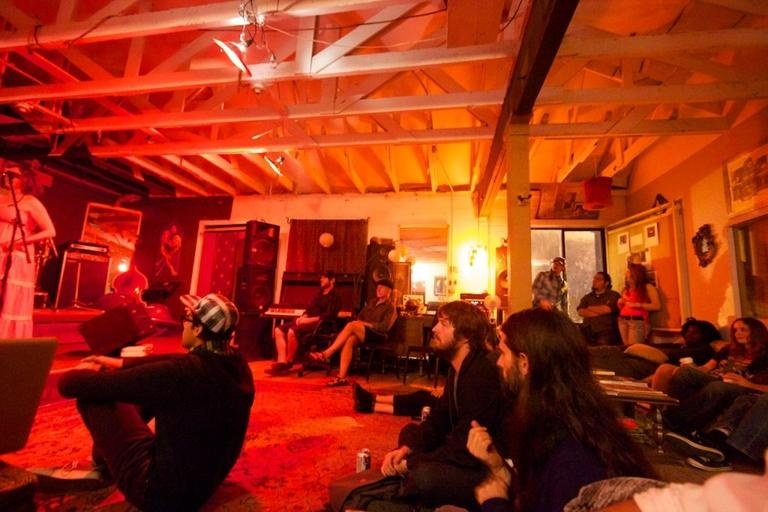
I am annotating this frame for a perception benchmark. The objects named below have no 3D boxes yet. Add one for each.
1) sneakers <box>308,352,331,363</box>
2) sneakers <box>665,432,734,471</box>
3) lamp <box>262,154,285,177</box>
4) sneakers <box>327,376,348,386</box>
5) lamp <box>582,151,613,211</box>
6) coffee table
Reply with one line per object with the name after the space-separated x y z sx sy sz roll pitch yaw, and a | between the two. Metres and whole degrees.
-0.987 1.564 7.541 0.154 0.130 0.391 -6 7 -42 | sneakers
3.137 1.987 5.096 0.690 0.238 0.297 11 25 35 | sneakers
-2.167 -1.802 9.746 0.309 0.431 0.247 22 -10 -12 | lamp
-0.636 1.780 7.049 0.309 0.116 0.107 6 -11 -18 | sneakers
3.435 -1.055 7.967 0.390 0.533 0.287 -1 -7 25 | lamp
2.435 1.495 4.744 0.589 0.295 1.294 0 -6 21 | coffee table
